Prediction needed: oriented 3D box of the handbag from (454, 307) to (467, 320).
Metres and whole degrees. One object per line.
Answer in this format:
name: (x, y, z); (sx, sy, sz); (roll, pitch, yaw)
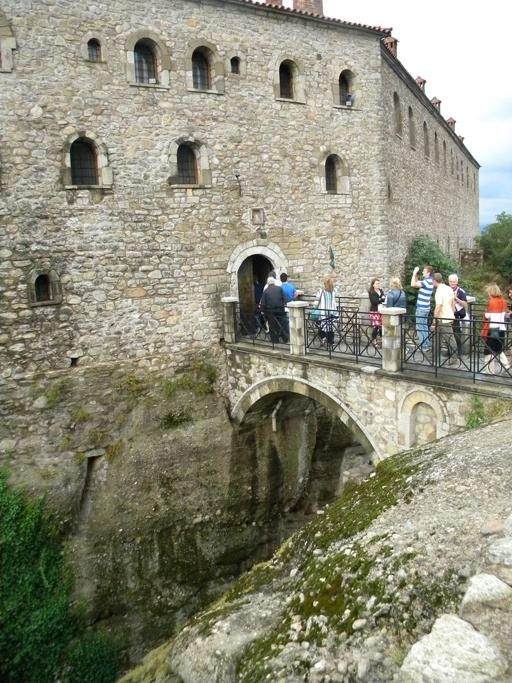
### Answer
handbag: (3.012, -0.413, 6.817); (0.099, 0.154, 0.187); (-10, 4, 33)

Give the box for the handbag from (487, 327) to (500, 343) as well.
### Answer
handbag: (3.002, -0.079, 5.815); (0.113, 0.181, 0.177); (5, 7, -8)

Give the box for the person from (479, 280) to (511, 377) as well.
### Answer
person: (2.985, -0.183, 5.766); (0.307, 1.075, 1.202); (-2, 2, 29)

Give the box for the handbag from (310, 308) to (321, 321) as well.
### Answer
handbag: (1.012, -0.450, 8.079); (0.210, 0.178, 0.222); (1, -22, 41)
